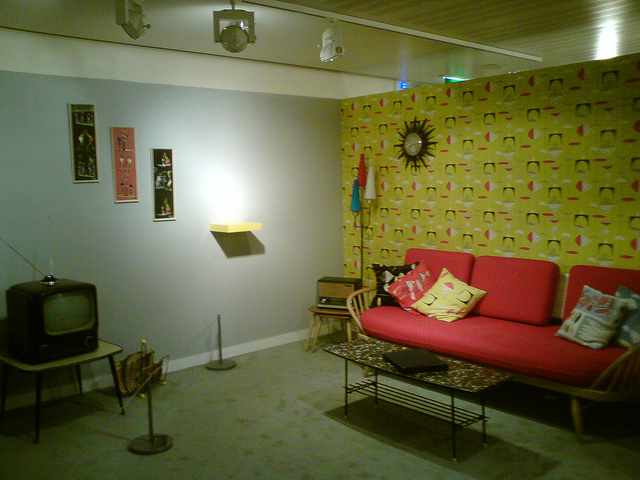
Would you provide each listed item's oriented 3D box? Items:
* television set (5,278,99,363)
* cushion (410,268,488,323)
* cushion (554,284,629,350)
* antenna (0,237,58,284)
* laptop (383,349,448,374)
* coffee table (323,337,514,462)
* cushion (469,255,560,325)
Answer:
[{"bbox_3d":[-2.330,0.661,4.585,0.751,0.747,0.867,-1,0,42],"label":"television set"},{"bbox_3d":[1.285,0.586,4.999,0.519,0.501,0.156,34,-12,46],"label":"cushion"},{"bbox_3d":[2.362,0.676,4.244,0.165,0.461,0.510,37,1,-18],"label":"cushion"},{"bbox_3d":[-2.571,0.203,4.433,0.572,0.385,0.259,10,19,42],"label":"antenna"},{"bbox_3d":[0.802,1.007,4.157,0.413,0.064,0.358,-5,12,-18],"label":"laptop"},{"bbox_3d":[0.829,1.268,4.306,1.425,0.620,0.750,9,17,38],"label":"coffee table"},{"bbox_3d":[1.950,0.525,4.873,0.723,0.520,0.239,8,-14,45],"label":"cushion"}]
